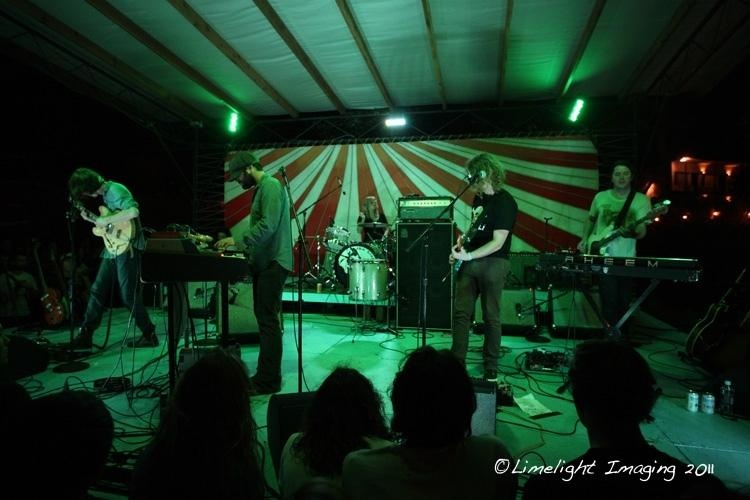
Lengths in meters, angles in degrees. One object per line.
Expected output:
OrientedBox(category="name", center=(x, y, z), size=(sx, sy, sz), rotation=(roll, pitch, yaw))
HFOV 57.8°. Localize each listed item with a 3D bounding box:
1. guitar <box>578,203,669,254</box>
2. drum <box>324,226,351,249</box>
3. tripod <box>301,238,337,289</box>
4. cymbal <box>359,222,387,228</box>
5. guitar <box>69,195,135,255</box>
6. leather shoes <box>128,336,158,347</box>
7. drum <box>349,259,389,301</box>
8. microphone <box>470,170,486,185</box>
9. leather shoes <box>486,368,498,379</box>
OrientedBox(category="guitar", center=(3.377, -0.295, 9.148), size=(1.155, 0.729, 0.784), rotation=(1, 2, 32))
OrientedBox(category="drum", center=(-0.671, -0.215, 12.412), size=(0.440, 0.327, 0.433), rotation=(5, -6, 1))
OrientedBox(category="tripod", center=(-1.029, 0.284, 12.695), size=(0.904, 0.921, 0.836), rotation=(2, -4, 7))
OrientedBox(category="cymbal", center=(-0.032, -0.452, 12.046), size=(0.454, 0.093, 0.644), rotation=(0, 2, -6))
OrientedBox(category="guitar", center=(-3.778, -0.322, 9.427), size=(1.024, 0.463, 0.144), rotation=(39, 20, 14))
OrientedBox(category="leather shoes", center=(-3.429, 1.346, 9.830), size=(0.531, 0.203, 0.172), rotation=(4, -10, -11))
OrientedBox(category="drum", center=(-0.115, 0.472, 10.631), size=(0.638, 0.576, 0.620), rotation=(1, -1, -17))
OrientedBox(category="microphone", center=(1.286, -0.903, 8.462), size=(0.181, 0.080, 0.124), rotation=(-19, 7, -42))
OrientedBox(category="leather shoes", center=(1.434, 1.542, 8.404), size=(0.128, 0.107, 0.121), rotation=(8, -17, -28))
